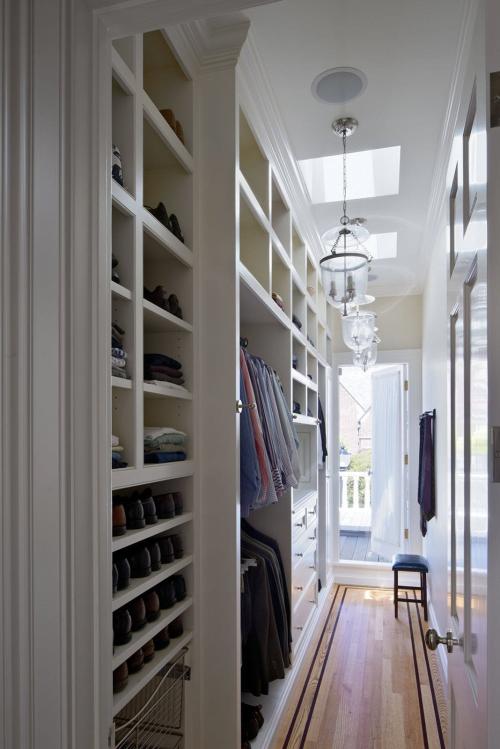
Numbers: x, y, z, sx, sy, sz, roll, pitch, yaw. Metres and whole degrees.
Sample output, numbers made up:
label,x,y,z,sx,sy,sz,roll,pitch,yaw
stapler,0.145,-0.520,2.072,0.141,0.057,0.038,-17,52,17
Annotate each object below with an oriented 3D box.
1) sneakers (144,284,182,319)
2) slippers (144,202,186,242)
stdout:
label,x,y,z,sx,sy,sz,roll,pitch,yaw
sneakers,-0.252,-0.222,1.551,0.107,0.104,0.205,2,-7,-8
slippers,-0.249,-0.444,1.547,0.036,0.135,0.108,-13,-14,18
